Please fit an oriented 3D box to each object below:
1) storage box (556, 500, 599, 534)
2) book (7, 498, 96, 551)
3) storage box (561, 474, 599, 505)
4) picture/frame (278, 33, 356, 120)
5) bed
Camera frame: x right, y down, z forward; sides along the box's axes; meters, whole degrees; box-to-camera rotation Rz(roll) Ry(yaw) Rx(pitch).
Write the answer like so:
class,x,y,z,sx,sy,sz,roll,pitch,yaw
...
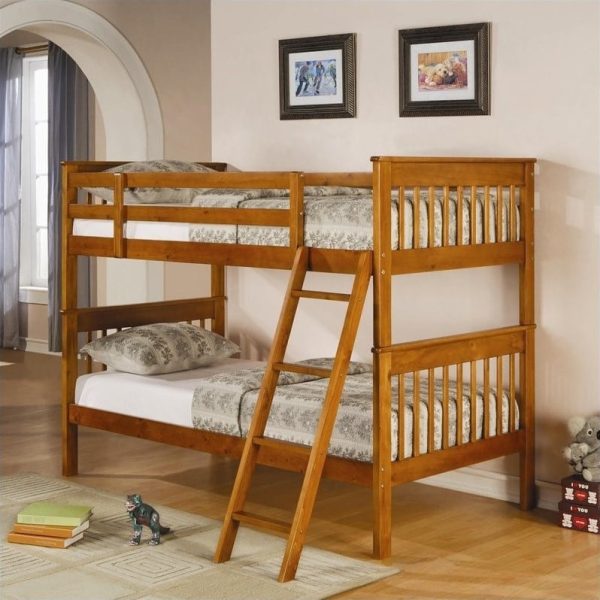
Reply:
class,x,y,z,sx,sy,sz,roll,pitch,yaw
storage box,1.053,0.814,2.570,0.121,0.066,0.122,2,3,44
book,-0.897,0.811,2.434,0.179,0.055,0.162,1,2,16
storage box,1.059,0.733,2.579,0.110,0.058,0.107,1,2,34
picture/frame,0.102,-1.187,3.547,0.574,0.424,0.042,5,8,39
bed,-0.184,0.135,3.033,1.894,1.369,1.320,2,5,41
